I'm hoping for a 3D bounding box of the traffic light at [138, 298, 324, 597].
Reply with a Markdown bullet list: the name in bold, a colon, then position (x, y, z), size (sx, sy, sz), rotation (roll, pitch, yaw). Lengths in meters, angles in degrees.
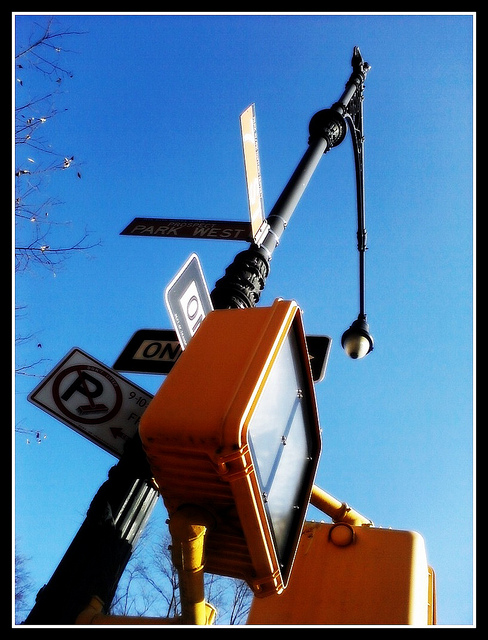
- **traffic light**: position (-0.068, 0.580, 3.303), size (0.540, 1.087, 1.410), rotation (-1, 36, 16)
